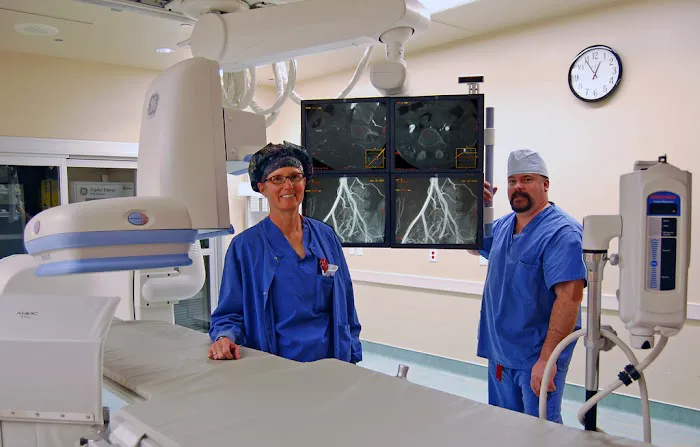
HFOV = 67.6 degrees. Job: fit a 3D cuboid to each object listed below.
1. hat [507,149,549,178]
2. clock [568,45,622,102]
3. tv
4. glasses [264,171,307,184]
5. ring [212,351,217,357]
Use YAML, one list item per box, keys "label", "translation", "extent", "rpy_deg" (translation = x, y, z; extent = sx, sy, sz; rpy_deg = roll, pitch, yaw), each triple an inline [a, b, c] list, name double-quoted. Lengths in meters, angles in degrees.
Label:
- label: "hat"
  translation: [1.033, -0.352, 3.029]
  extent: [0.202, 0.127, 0.147]
  rpy_deg: [-4, 1, -17]
- label: "clock"
  translation: [1.828, -1.124, 3.875]
  extent: [0.454, 0.520, 0.072]
  rpy_deg: [-2, -3, 42]
- label: "tv"
  translation: [0.258, -0.298, 2.852]
  extent: [0.868, 0.732, 0.057]
  rpy_deg: [0, 0, 6]
- label: "glasses"
  translation: [-0.317, -0.220, 2.497]
  extent: [0.183, 0.057, 0.056]
  rpy_deg: [-2, 12, -8]
- label: "ring"
  translation: [-0.606, 0.581, 2.329]
  extent: [0.023, 0.024, 0.008]
  rpy_deg: [-1, 4, 21]
